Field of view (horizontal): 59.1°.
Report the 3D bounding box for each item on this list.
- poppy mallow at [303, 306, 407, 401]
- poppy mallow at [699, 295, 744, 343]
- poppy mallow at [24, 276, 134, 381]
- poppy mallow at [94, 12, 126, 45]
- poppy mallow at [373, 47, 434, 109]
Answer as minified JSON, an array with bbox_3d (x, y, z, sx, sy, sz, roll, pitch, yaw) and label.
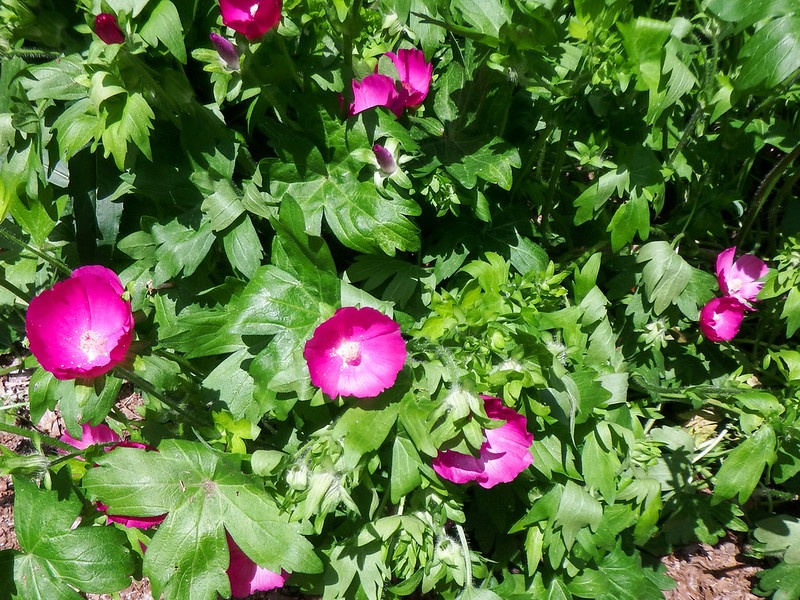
[{"bbox_3d":[-0.140,0.182,2.237,0.282,0.328,0.112,-33,28,1],"label":"poppy mallow"},{"bbox_3d":[1.234,0.077,2.709,0.158,0.146,0.118,9,62,-4],"label":"poppy mallow"},{"bbox_3d":[-1.080,0.085,2.385,0.306,0.170,0.399,-15,81,-6],"label":"poppy mallow"},{"bbox_3d":[-0.957,-0.899,2.329,0.058,0.097,0.075,3,76,3],"label":"poppy mallow"},{"bbox_3d":[0.043,-0.832,2.593,0.166,0.209,0.097,6,24,10],"label":"poppy mallow"}]
